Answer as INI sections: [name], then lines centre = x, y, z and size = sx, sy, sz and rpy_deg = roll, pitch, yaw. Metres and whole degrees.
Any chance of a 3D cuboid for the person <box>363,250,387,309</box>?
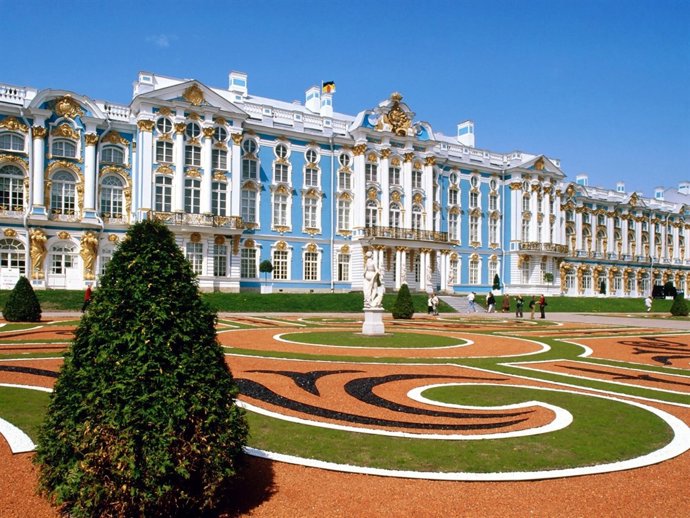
[person]
centre = 0.914, 0.780, 24.183
size = 0.566, 1.570, 1.192
rpy_deg = -1, 3, 4
